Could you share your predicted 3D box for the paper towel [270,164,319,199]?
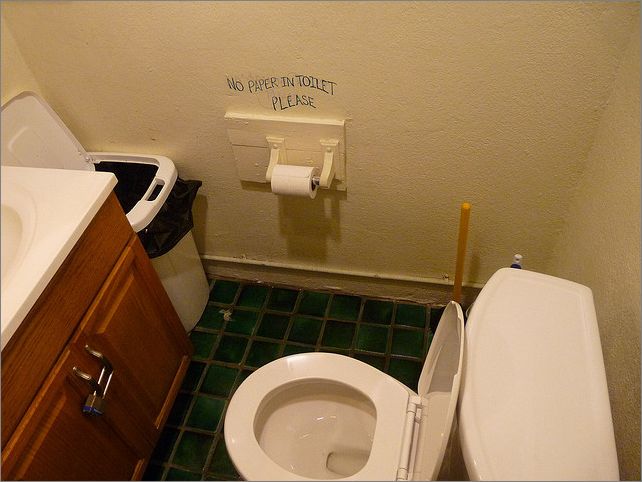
[{"bbox_3d":[-0.073,-0.182,1.498,0.136,0.096,0.093,9,19,25],"label":"paper towel"}]
